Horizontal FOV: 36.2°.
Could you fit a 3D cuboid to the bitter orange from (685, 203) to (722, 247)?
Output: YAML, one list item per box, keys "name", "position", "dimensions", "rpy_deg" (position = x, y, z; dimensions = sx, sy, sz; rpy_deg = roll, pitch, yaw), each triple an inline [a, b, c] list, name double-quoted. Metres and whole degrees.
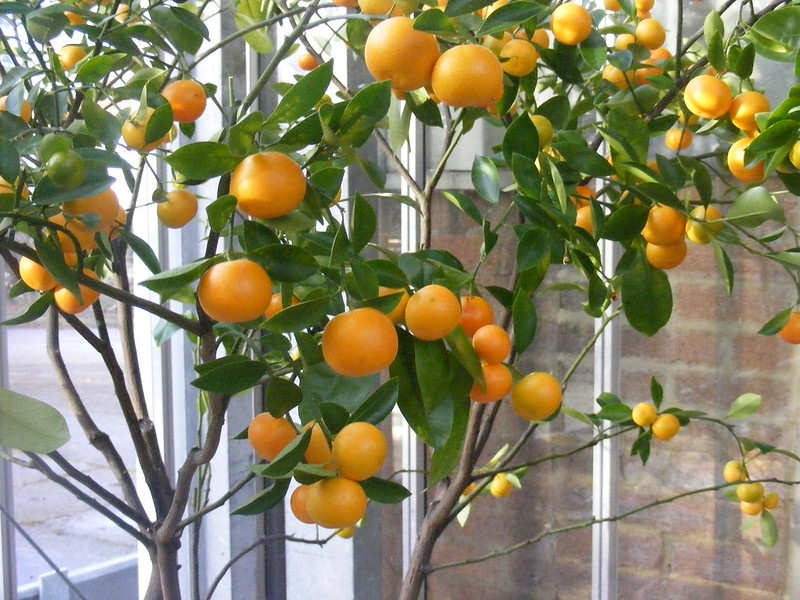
- name: "bitter orange"
  position: [0.400, -0.101, 1.605]
  dimensions: [0.037, 0.039, 0.054]
  rpy_deg: [-22, -45, 12]

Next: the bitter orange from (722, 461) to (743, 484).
- name: "bitter orange"
  position: [0.515, 0.263, 1.878]
  dimensions: [0.030, 0.032, 0.032]
  rpy_deg: [9, -23, 1]

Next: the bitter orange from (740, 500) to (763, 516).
- name: "bitter orange"
  position: [0.536, 0.317, 1.863]
  dimensions: [0.024, 0.027, 0.026]
  rpy_deg: [-14, -11, 0]

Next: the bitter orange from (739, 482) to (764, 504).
- name: "bitter orange"
  position: [0.533, 0.289, 1.841]
  dimensions: [0.029, 0.031, 0.032]
  rpy_deg: [-2, -43, 10]

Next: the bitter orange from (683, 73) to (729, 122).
- name: "bitter orange"
  position: [0.399, -0.264, 1.582]
  dimensions: [0.052, 0.056, 0.052]
  rpy_deg: [24, -12, -34]

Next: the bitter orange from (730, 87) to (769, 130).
- name: "bitter orange"
  position: [0.451, -0.253, 1.593]
  dimensions: [0.045, 0.050, 0.056]
  rpy_deg: [-1, 17, -2]

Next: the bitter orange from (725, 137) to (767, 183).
- name: "bitter orange"
  position: [0.445, -0.178, 1.581]
  dimensions: [0.049, 0.055, 0.061]
  rpy_deg: [2, -7, 7]
